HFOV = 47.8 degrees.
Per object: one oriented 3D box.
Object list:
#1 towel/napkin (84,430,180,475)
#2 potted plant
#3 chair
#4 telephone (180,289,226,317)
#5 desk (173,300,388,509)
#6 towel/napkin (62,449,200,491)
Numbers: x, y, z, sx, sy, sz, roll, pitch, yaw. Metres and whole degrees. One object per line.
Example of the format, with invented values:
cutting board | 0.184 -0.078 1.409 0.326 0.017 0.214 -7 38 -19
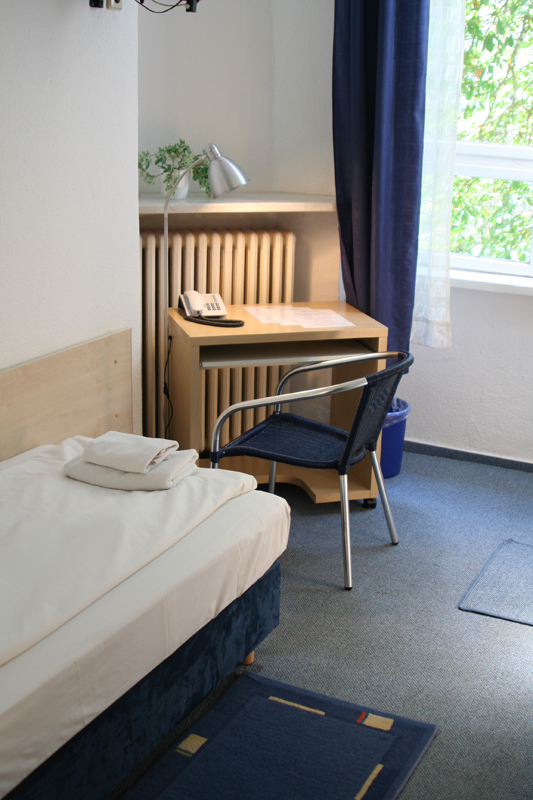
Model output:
towel/napkin | -0.363 0.137 1.635 0.133 0.047 0.131 9 15 21
potted plant | -0.382 -0.990 2.673 0.278 0.184 0.222 -17 32 -27
chair | 0.134 0.184 2.083 0.559 0.722 0.533 9 19 23
telephone | -0.266 -0.395 2.494 0.179 0.105 0.205 0 11 -11
desk | 0.087 0.027 2.630 0.774 0.776 0.578 0 16 -1
towel/napkin | -0.332 0.191 1.586 0.152 0.050 0.153 5 10 24
